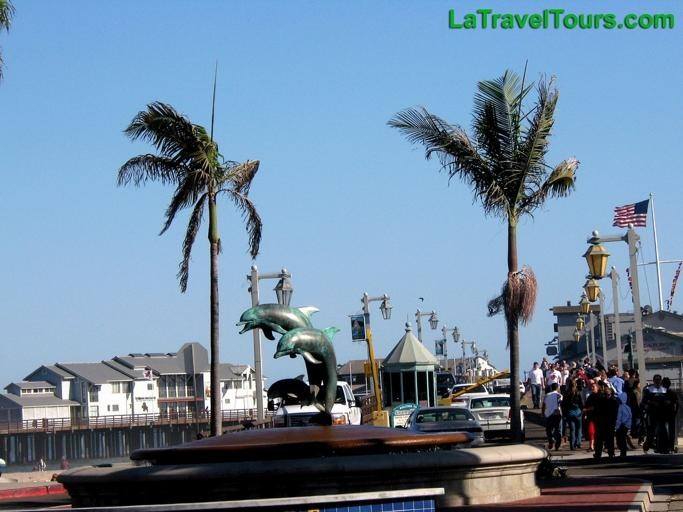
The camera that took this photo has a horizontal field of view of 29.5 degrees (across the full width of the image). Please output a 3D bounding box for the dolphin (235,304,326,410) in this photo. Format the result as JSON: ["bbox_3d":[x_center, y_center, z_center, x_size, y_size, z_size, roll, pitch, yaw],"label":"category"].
[{"bbox_3d":[-1.408,1.621,31.992,1.990,4.182,1.758,-7,-14,38],"label":"dolphin"}]
